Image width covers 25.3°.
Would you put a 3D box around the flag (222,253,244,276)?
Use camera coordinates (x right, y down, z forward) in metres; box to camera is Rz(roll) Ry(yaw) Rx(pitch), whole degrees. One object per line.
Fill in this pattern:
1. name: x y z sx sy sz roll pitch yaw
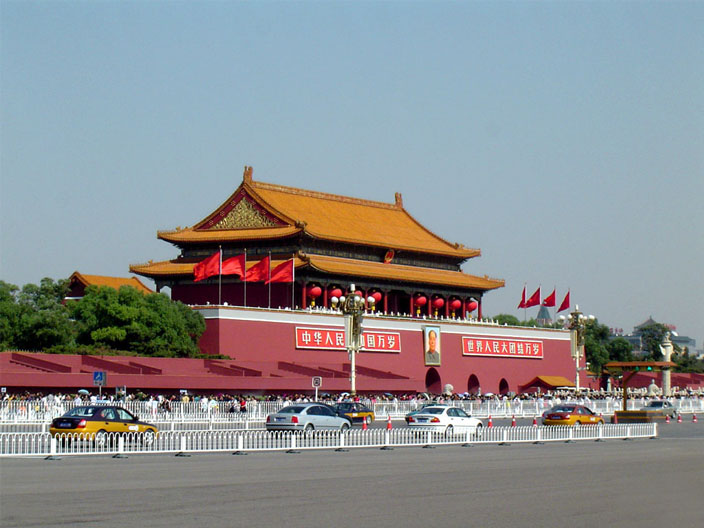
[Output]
1. flag: -6.251 0.026 82.562 1.167 1.325 0.894 0 -11 -7

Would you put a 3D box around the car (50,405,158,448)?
1. car: -8.127 5.240 51.021 3.648 1.252 1.284 4 -7 -41

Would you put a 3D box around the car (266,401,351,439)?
1. car: -1.638 5.385 55.359 3.354 1.181 1.095 8 -14 -39

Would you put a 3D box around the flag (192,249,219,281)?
1. flag: -7.890 0.057 85.198 1.530 1.696 0.330 -10 -6 12

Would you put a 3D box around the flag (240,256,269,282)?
1. flag: -5.270 0.292 84.536 1.421 1.535 0.236 2 3 22

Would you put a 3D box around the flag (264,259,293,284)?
1. flag: -3.988 0.423 85.336 1.396 1.481 0.213 1 2 3

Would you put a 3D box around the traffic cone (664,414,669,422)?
1. traffic cone: 14.807 7.234 74.110 0.339 0.375 0.333 6 -8 -36
